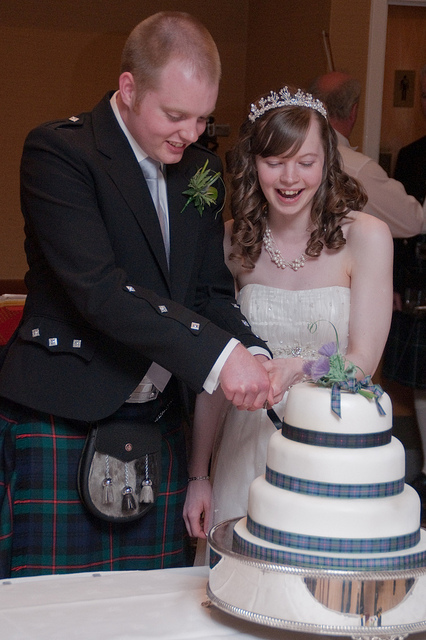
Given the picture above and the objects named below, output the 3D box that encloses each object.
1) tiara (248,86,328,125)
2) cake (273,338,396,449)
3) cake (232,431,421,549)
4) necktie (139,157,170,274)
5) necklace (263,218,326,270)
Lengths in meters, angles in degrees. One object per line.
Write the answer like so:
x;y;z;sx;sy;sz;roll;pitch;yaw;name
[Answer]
0.221;-0.638;1.585;0.236;0.117;0.102;-4;17;4;tiara
0.176;0.110;0.767;0.141;0.152;0.141;6;-4;-25;cake
0.151;0.203;0.684;0.169;0.091;0.171;3;2;-13;cake
-0.147;-0.277;1.359;0.053;0.273;0.124;-7;17;-5;necktie
0.239;-0.231;1.668;0.064;0.137;0.218;-21;23;-41;necklace
